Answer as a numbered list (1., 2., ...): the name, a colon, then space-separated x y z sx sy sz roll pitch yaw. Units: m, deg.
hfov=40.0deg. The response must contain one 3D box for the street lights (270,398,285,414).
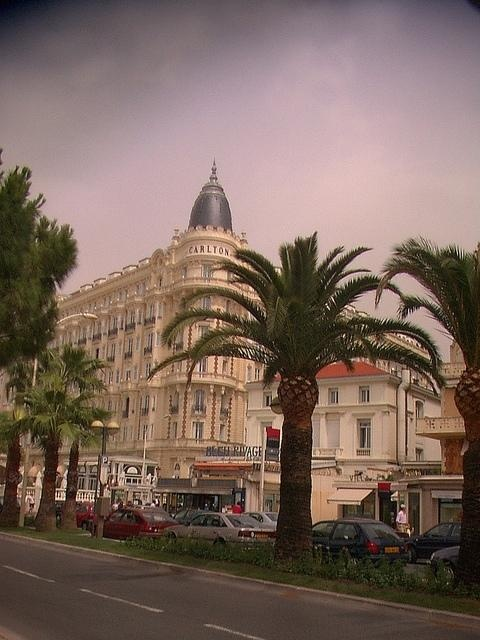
1. street lights: 0.992 2.279 17.516 0.413 0.466 0.431 4 -9 -24

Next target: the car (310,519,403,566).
1. car: 2.698 5.366 16.352 0.995 0.841 2.217 7 -9 -32

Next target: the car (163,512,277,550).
1. car: -0.445 6.456 20.448 2.950 0.902 1.278 -5 -13 40
